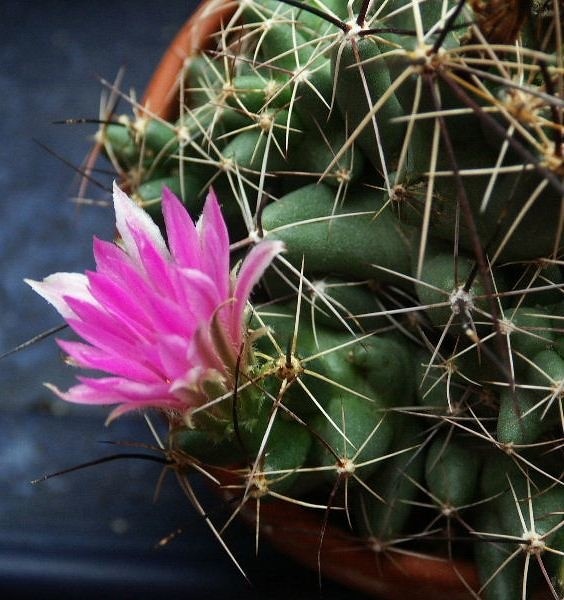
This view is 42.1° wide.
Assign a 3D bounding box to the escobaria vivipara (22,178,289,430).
[{"bbox_3d":[-0.102,0.000,0.479,0.130,0.156,0.194,-17,29,-34],"label":"escobaria vivipara"}]
